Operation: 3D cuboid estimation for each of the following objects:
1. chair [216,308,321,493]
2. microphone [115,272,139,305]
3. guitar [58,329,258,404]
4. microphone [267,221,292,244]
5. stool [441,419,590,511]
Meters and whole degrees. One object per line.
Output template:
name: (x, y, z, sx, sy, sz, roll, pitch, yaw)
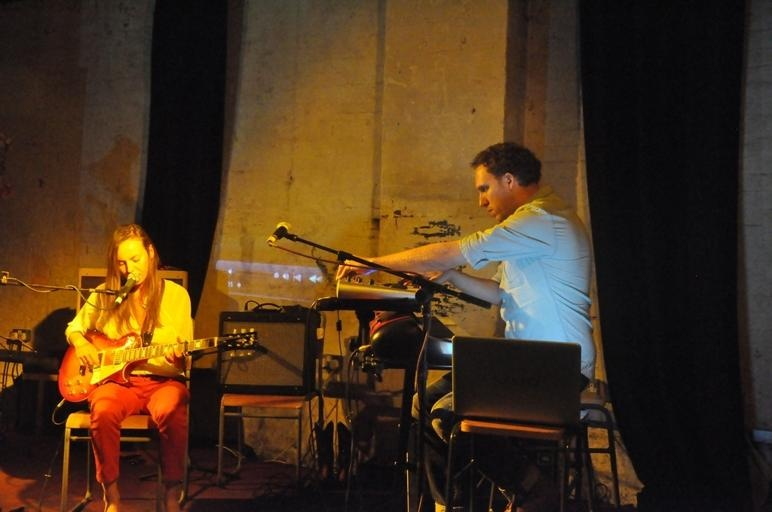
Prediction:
chair: (-0.992, 1.178, 8.065, 0.800, 1.385, 0.755, 1, 2, 7)
microphone: (-1.861, 0.212, 6.881, 0.094, 0.359, 0.087, -4, -51, 22)
guitar: (-1.709, 0.863, 7.295, 1.575, 0.156, 0.636, -17, -4, 22)
microphone: (-0.786, -0.165, 6.919, 0.136, 0.196, 0.324, 4, -7, -7)
stool: (0.960, 1.625, 6.594, 1.007, 0.841, 0.698, -2, -18, 15)
